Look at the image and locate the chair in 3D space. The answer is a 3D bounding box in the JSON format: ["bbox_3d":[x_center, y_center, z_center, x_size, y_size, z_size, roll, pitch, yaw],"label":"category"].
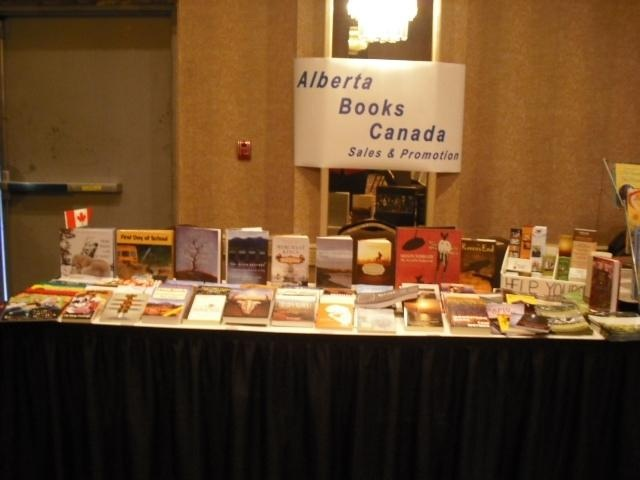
[{"bbox_3d":[0.282,0.089,3.776,0.444,0.460,0.400,2,6,23],"label":"chair"}]
